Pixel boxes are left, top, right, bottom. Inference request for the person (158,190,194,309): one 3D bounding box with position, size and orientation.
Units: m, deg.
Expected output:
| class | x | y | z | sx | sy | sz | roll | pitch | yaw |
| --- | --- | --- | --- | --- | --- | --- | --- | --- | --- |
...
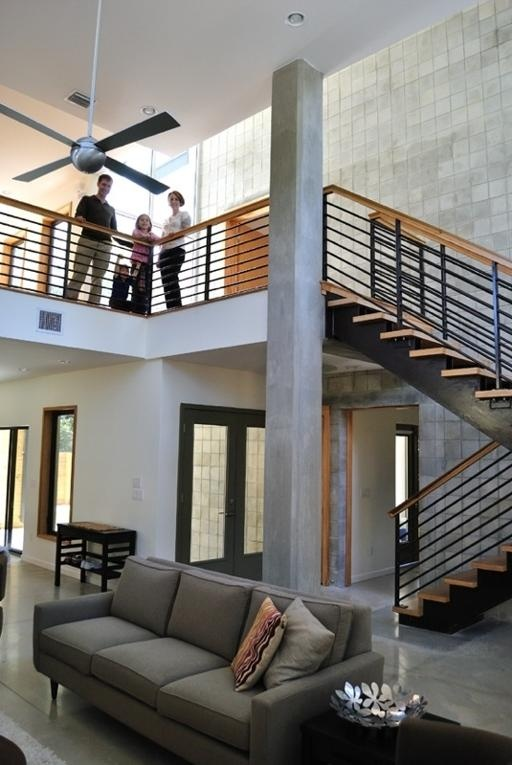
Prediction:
| class | x | y | z | sx | sy | sz | roll | pitch | yaw |
| --- | --- | --- | --- | --- | --- | --- | --- | --- | --- |
| person | -0.832 | -1.380 | 6.472 | 0.301 | 1.460 | 0.876 | 2 | -7 | -7 |
